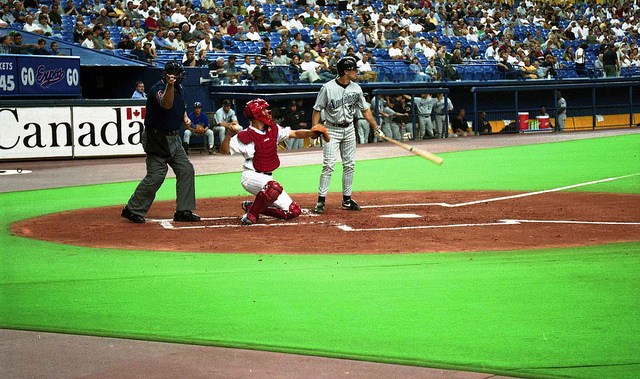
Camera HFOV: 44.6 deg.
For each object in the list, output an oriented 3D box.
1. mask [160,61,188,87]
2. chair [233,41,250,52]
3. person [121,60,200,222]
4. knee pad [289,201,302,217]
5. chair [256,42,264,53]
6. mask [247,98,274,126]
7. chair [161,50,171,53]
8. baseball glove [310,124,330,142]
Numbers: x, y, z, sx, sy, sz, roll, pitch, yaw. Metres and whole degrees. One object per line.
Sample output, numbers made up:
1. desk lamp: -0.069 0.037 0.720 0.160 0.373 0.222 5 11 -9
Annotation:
1. mask: -2.676 -2.146 14.523 0.415 0.459 0.560 -1 3 -12
2. chair: -2.858 -5.278 28.897 0.487 0.413 0.206 -1 4 -11
3. person: -2.948 -0.889 14.823 1.289 3.026 0.951 -1 4 -8
4. knee pad: -0.451 0.391 14.875 0.144 0.278 0.311 0 3 15
5. chair: -2.253 -5.360 29.298 0.344 0.336 0.328 -1 8 -9
6. mask: -1.192 -1.477 14.984 0.574 0.440 0.390 -2 7 -1
7. chair: -5.343 -4.837 27.378 0.321 0.109 0.150 -1 3 -10
8. baseball glove: -0.001 -1.098 15.175 0.358 0.294 0.487 -7 -5 0
